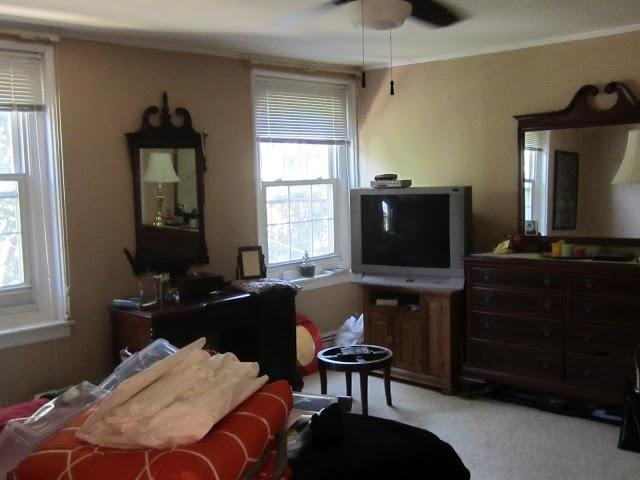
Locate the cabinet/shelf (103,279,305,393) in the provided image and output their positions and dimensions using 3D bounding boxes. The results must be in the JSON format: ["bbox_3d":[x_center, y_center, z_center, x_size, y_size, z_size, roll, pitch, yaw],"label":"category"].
[{"bbox_3d":[-0.756,0.551,3.127,0.317,0.563,0.842,4,8,37],"label":"cabinet/shelf"}]

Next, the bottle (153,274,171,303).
[{"bbox_3d":[-1.127,0.353,3.632,0.105,0.191,0.227,-5,10,-18],"label":"bottle"}]

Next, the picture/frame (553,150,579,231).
[{"bbox_3d":[1.962,-0.389,4.052,0.195,0.617,0.027,1,3,-2],"label":"picture/frame"}]

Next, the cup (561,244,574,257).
[{"bbox_3d":[1.818,0.078,3.725,0.085,0.084,0.077,4,6,33],"label":"cup"}]

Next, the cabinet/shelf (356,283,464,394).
[{"bbox_3d":[0.766,0.818,4.107,0.831,0.819,0.355,1,1,39],"label":"cabinet/shelf"}]

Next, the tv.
[{"bbox_3d":[0.787,-0.046,4.467,0.979,0.893,0.392,1,14,25],"label":"tv"}]

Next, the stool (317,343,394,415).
[{"bbox_3d":[0.247,1.001,3.621,0.503,0.389,0.512,-3,0,-17],"label":"stool"}]

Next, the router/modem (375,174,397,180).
[{"bbox_3d":[0.592,-0.555,4.485,0.166,0.045,0.289,1,10,17],"label":"router/modem"}]

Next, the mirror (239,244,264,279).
[{"bbox_3d":[-0.591,0.205,4.392,0.195,0.280,0.012,-3,19,0],"label":"mirror"}]

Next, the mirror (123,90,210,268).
[{"bbox_3d":[-1.181,-0.414,3.980,0.602,1.475,0.048,-1,-11,-19],"label":"mirror"}]

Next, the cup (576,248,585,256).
[{"bbox_3d":[1.932,0.089,3.778,0.057,0.042,0.058,-1,0,0],"label":"cup"}]
